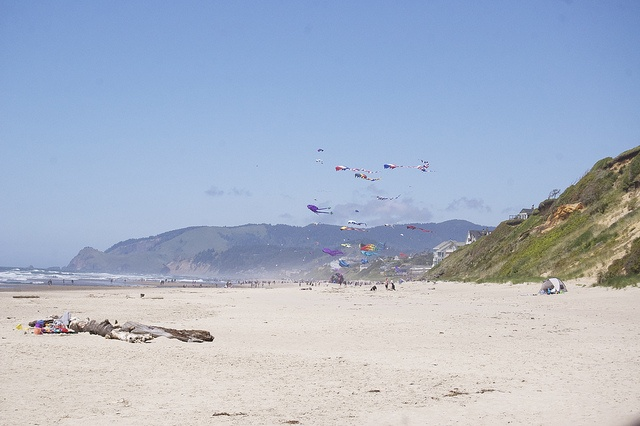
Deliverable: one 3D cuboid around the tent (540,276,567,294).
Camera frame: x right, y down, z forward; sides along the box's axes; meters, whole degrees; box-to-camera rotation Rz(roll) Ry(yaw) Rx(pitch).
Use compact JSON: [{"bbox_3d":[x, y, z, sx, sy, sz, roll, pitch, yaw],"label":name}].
[{"bbox_3d":[16.082,5.070,44.009,1.289,0.810,1.261,-3,-2,27],"label":"tent"}]
